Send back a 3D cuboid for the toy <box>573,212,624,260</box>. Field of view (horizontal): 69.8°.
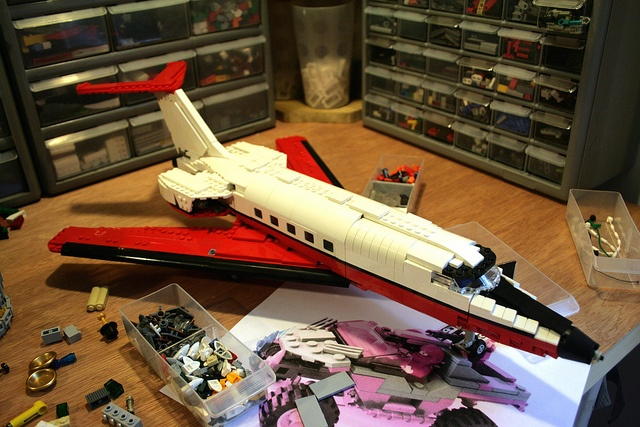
[{"bbox_3d":[1.920,0.182,3.138,0.212,0.087,0.324,-9,45,-4],"label":"toy"}]

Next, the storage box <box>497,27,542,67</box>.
[{"bbox_3d":[1.457,-1.210,3.323,0.266,0.180,0.162,29,49,36],"label":"storage box"}]

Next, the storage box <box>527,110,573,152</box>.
[{"bbox_3d":[1.679,-0.595,3.448,0.335,0.221,0.211,12,-12,-9],"label":"storage box"}]

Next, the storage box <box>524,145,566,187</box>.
[{"bbox_3d":[1.780,-0.387,3.529,0.209,0.190,0.287,-21,33,-31],"label":"storage box"}]

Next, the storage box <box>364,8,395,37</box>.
[{"bbox_3d":[0.536,-1.701,4.066,0.221,0.171,0.122,34,59,32],"label":"storage box"}]

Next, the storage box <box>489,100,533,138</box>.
[{"bbox_3d":[1.542,-0.779,3.585,0.222,0.234,0.341,-40,44,-24],"label":"storage box"}]

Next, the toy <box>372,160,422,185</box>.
[{"bbox_3d":[0.621,-0.302,3.602,0.223,0.079,0.218,3,31,22],"label":"toy"}]

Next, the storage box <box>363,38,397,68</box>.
[{"bbox_3d":[0.554,-1.469,4.178,0.250,0.223,0.140,9,24,11],"label":"storage box"}]

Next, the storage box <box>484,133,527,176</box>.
[{"bbox_3d":[1.551,-0.519,3.750,0.205,0.209,0.302,-23,37,-38],"label":"storage box"}]

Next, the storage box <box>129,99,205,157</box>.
[{"bbox_3d":[-1.560,-0.745,4.187,0.290,0.533,0.357,-20,11,15],"label":"storage box"}]

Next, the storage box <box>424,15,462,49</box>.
[{"bbox_3d":[1.004,-1.464,3.699,0.258,0.186,0.137,15,44,22],"label":"storage box"}]

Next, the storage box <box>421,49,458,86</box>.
[{"bbox_3d":[1.009,-1.219,3.822,0.277,0.191,0.150,26,49,30],"label":"storage box"}]

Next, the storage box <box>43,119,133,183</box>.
[{"bbox_3d":[-1.955,-0.498,3.880,0.703,0.333,0.482,-27,32,-32],"label":"storage box"}]

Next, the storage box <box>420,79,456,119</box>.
[{"bbox_3d":[1.016,-0.987,3.921,0.285,0.209,0.156,27,46,37],"label":"storage box"}]

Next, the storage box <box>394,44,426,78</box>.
[{"bbox_3d":[0.793,-1.327,3.988,0.257,0.187,0.142,22,42,33],"label":"storage box"}]

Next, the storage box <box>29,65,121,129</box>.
[{"bbox_3d":[-1.946,-0.922,3.587,0.555,0.333,0.091,-23,48,-21],"label":"storage box"}]

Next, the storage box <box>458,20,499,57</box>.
[{"bbox_3d":[1.242,-1.340,3.529,0.303,0.209,0.167,27,49,35],"label":"storage box"}]

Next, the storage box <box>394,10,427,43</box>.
[{"bbox_3d":[0.775,-1.583,3.869,0.247,0.195,0.133,26,52,26],"label":"storage box"}]

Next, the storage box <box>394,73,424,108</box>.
[{"bbox_3d":[0.805,-1.116,4.099,0.294,0.267,0.168,31,50,34],"label":"storage box"}]
